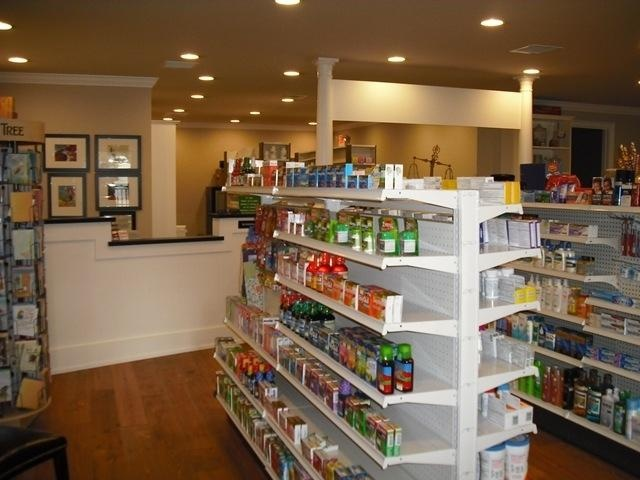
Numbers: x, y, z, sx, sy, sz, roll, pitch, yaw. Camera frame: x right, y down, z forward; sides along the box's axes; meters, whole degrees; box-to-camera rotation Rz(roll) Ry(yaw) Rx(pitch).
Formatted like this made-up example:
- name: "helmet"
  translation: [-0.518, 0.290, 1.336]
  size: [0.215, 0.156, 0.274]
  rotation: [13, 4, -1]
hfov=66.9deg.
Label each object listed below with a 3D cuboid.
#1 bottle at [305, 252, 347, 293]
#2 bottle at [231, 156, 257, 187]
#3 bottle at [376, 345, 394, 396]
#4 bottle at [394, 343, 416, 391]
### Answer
- name: "bottle"
  translation: [0.044, 0.210, 3.060]
  size: [0.093, 0.243, 0.256]
  rotation: [7, -6, -33]
- name: "bottle"
  translation: [-0.703, -0.622, 4.468]
  size: [0.084, 0.207, 0.328]
  rotation: [-1, 8, -26]
- name: "bottle"
  translation: [0.339, 0.674, 2.508]
  size: [0.088, 0.239, 0.076]
  rotation: [2, 8, 9]
- name: "bottle"
  translation: [0.442, 0.668, 2.565]
  size: [0.095, 0.250, 0.132]
  rotation: [2, 8, 7]
